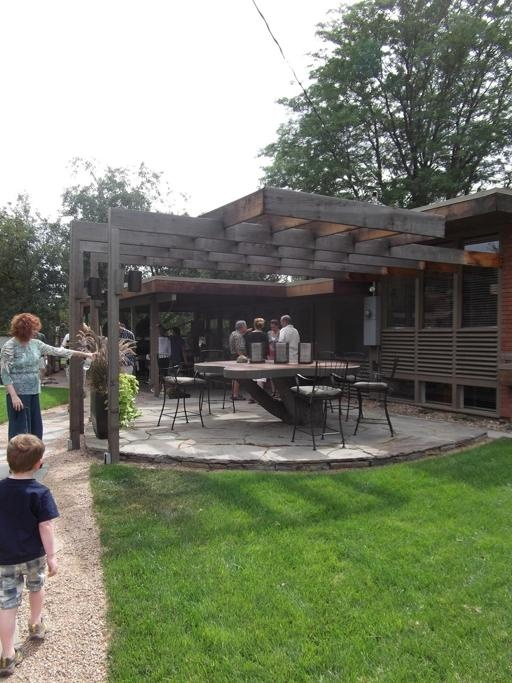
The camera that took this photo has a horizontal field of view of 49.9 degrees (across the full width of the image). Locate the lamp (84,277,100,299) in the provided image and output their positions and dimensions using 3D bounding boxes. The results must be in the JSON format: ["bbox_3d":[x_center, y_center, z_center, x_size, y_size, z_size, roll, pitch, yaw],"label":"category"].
[{"bbox_3d":[-1.924,-0.656,6.519,0.142,0.242,0.403,0,2,-13],"label":"lamp"}]

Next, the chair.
[{"bbox_3d":[0.465,0.714,7.174,2.532,0.974,2.066,1,2,-8],"label":"chair"}]

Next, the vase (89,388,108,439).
[{"bbox_3d":[-1.931,0.866,6.859,0.209,0.561,0.593,-2,3,-21],"label":"vase"}]

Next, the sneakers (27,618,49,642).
[{"bbox_3d":[-0.959,1.264,2.414,0.045,0.055,0.121,-1,-3,-5],"label":"sneakers"}]
